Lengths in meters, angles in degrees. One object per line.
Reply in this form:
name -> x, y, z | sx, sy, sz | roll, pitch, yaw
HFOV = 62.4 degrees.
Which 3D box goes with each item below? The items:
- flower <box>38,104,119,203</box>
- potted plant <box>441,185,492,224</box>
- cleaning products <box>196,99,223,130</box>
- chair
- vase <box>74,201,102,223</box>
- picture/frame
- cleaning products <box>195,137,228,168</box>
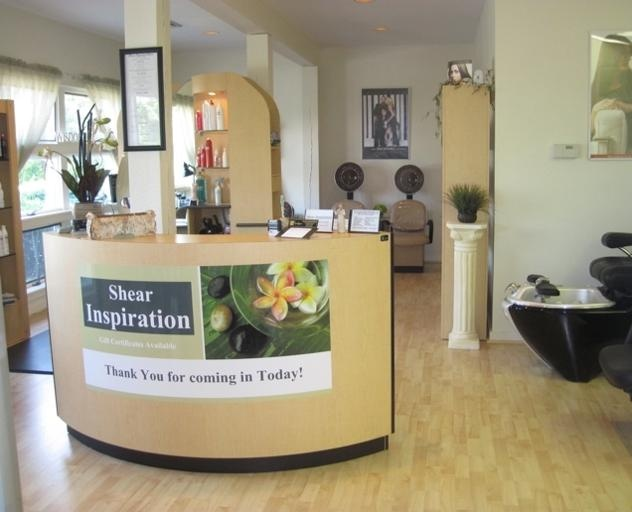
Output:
flower -> -1.995, -0.800, 4.469 | 0.722, 0.808, 0.565 | -16, -18, 38
potted plant -> 1.323, -0.468, 4.600 | 0.378, 0.331, 0.286 | 3, 12, 18
cleaning products -> -1.177, -1.552, 5.748 | 0.361, 0.342, 0.160 | 2, 12, 17
chair -> 1.018, -0.376, 7.930 | 1.102, 1.561, 1.232 | 1, 3, 8
vase -> -1.581, -0.298, 3.593 | 0.199, 0.147, 0.137 | -4, 5, -44
picture/frame -> -1.339, -1.195, 4.001 | 0.371, 0.772, 0.090 | 0, 11, 6
cleaning products -> -1.154, -1.110, 5.910 | 0.363, 0.375, 0.340 | 0, 1, 6
